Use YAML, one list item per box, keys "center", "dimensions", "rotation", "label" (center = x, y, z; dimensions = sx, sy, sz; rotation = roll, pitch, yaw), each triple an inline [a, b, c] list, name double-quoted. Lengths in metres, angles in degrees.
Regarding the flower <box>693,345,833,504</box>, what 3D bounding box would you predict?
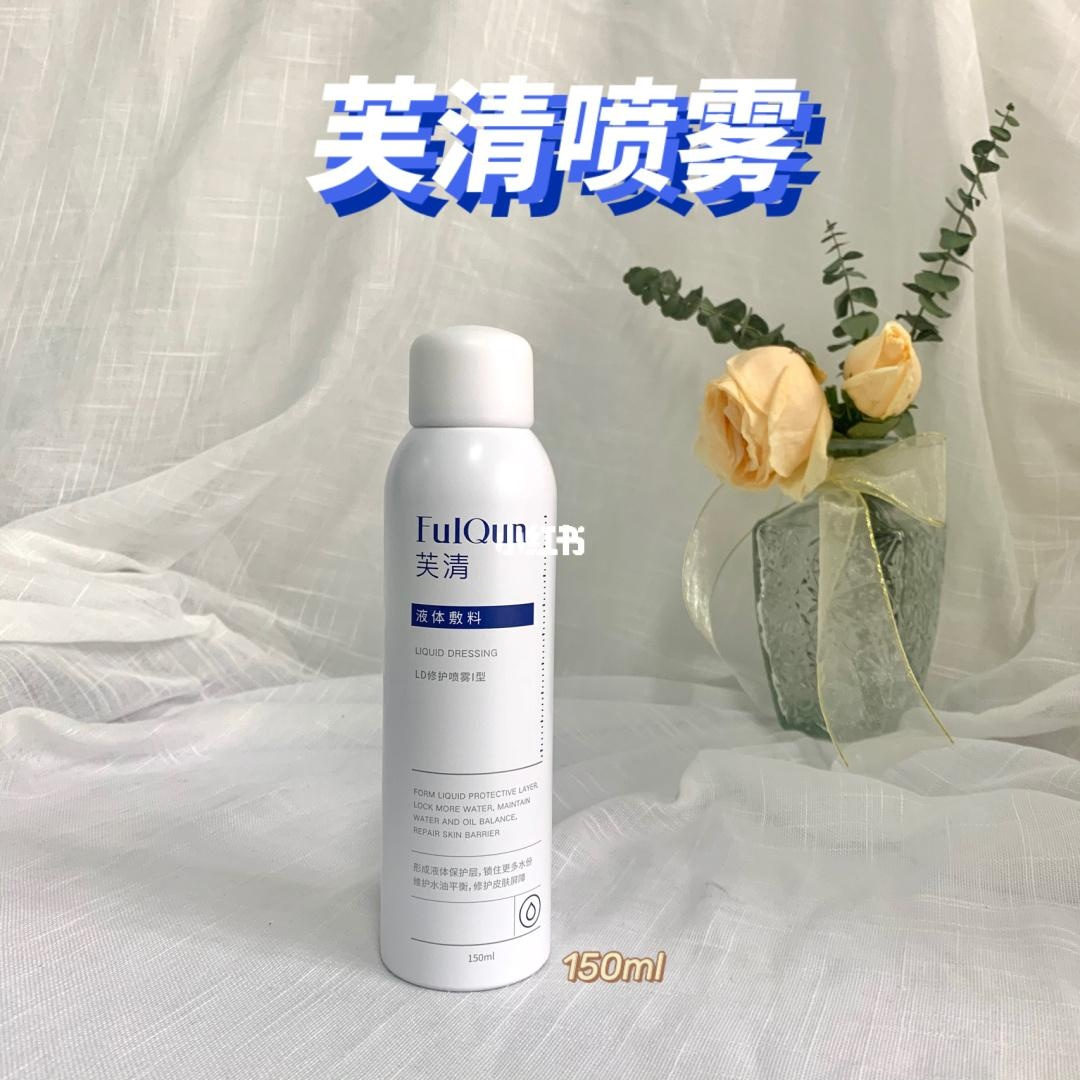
- center: [0.170, -0.090, 0.828]
  dimensions: [0.131, 0.129, 0.115]
  rotation: [5, 90, 20]
  label: "flower"
